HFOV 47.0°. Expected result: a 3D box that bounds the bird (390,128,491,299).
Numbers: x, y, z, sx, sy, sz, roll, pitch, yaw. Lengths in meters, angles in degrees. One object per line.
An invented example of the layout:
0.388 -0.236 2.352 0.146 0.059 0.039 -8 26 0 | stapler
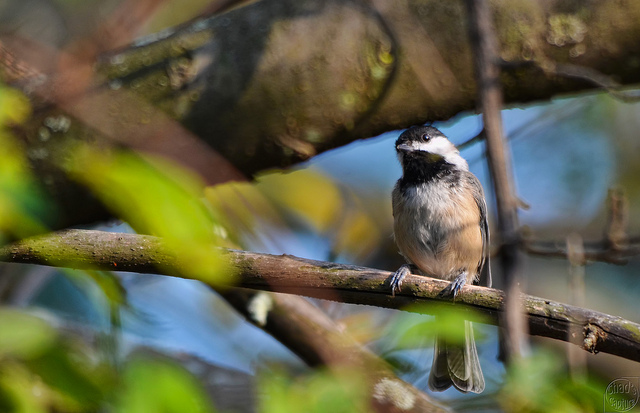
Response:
0.939 0.048 5.733 0.744 1.452 0.514 -9 17 4 | bird
